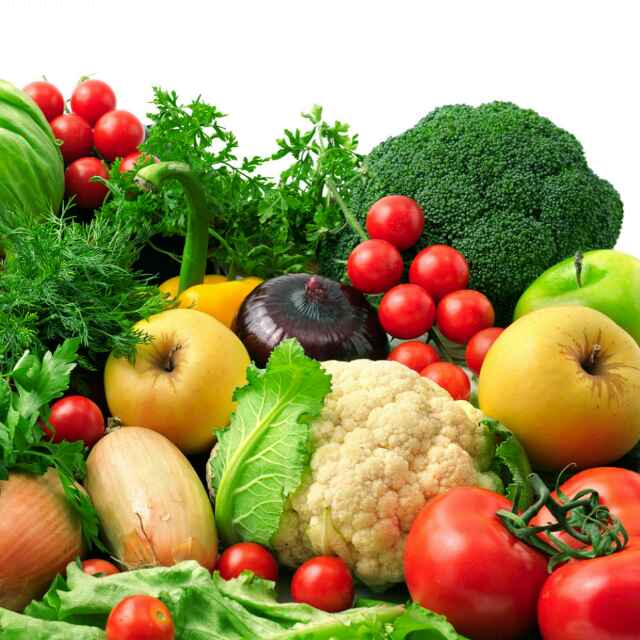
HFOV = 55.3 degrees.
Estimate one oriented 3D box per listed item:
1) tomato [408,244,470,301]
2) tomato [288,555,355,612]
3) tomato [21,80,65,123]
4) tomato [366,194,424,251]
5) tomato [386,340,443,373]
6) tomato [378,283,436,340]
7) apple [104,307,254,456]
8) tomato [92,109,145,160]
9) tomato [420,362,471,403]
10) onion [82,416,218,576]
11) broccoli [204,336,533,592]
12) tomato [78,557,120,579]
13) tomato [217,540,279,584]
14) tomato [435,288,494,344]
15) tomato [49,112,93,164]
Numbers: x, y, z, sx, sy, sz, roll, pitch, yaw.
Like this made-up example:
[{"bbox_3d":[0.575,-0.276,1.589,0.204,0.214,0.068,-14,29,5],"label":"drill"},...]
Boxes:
[{"bbox_3d":[0.457,-0.180,2.375,0.249,0.215,0.238,2,-20,-5],"label":"tomato"},{"bbox_3d":[-0.001,0.590,1.389,0.128,0.117,0.114,-7,36,-12],"label":"tomato"},{"bbox_3d":[-1.286,-1.013,2.861,0.154,0.168,0.149,-5,20,-19],"label":"tomato"},{"bbox_3d":[0.292,-0.374,2.461,0.215,0.238,0.199,-7,50,8],"label":"tomato"},{"bbox_3d":[0.345,0.109,2.192,0.146,0.130,0.128,-4,5,-5],"label":"tomato"},{"bbox_3d":[0.314,-0.039,2.279,0.216,0.214,0.202,1,-3,-17],"label":"tomato"},{"bbox_3d":[-0.383,0.183,1.923,0.434,0.400,0.409,-11,-32,-5],"label":"apple"},{"bbox_3d":[-0.932,-0.844,2.802,0.224,0.240,0.220,9,14,19],"label":"tomato"},{"bbox_3d":[0.427,0.195,2.106,0.136,0.127,0.154,-21,-30,4],"label":"tomato"},{"bbox_3d":[-0.436,0.469,1.588,0.233,0.212,0.383,-21,50,-29],"label":"onion"},{"bbox_3d":[0.070,0.458,1.662,0.767,0.398,0.663,26,31,28],"label":"broccoli"},{"bbox_3d":[-0.501,0.554,1.381,0.062,0.065,0.058,-7,43,3],"label":"tomato"},{"bbox_3d":[-0.174,0.570,1.456,0.114,0.104,0.101,7,36,-13],"label":"tomato"},{"bbox_3d":[0.505,-0.005,2.264,0.215,0.190,0.189,-1,-6,-3],"label":"tomato"},{"bbox_3d":[-1.087,-0.802,2.720,0.218,0.240,0.206,-4,22,-13],"label":"tomato"}]
